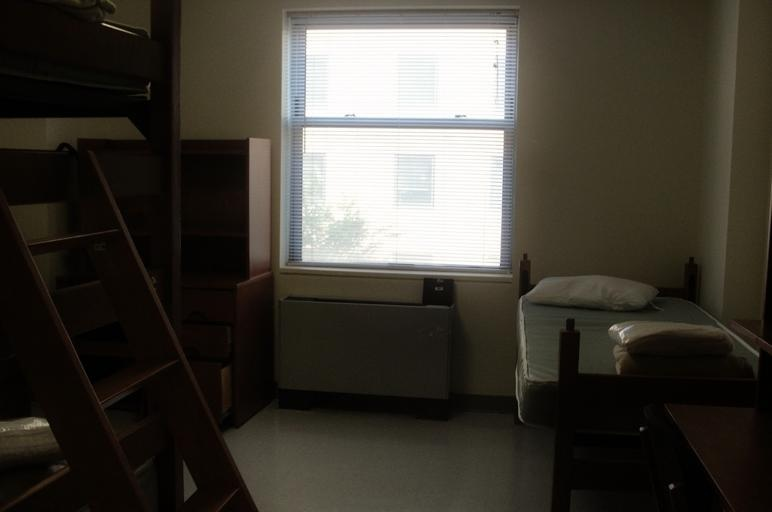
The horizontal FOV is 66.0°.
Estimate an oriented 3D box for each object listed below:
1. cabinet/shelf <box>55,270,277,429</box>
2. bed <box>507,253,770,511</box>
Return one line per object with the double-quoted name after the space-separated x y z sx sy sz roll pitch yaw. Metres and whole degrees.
-1.296 0.687 4.359 0.721 0.936 1.036 1 2 2 "cabinet/shelf"
1.204 0.603 3.287 0.831 0.882 1.460 1 10 6 "bed"
